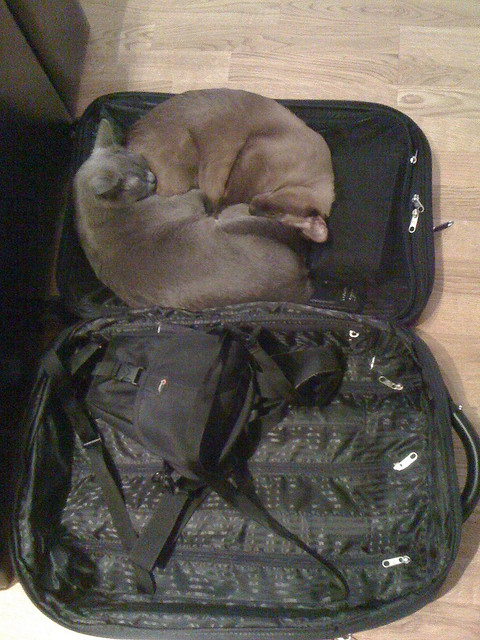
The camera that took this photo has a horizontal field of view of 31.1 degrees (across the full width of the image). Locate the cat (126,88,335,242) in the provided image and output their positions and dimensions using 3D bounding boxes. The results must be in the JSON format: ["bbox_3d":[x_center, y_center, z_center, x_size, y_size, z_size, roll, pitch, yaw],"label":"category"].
[{"bbox_3d":[-0.038,-0.335,1.605,0.447,0.147,0.282,8,50,-25],"label":"cat"}]
